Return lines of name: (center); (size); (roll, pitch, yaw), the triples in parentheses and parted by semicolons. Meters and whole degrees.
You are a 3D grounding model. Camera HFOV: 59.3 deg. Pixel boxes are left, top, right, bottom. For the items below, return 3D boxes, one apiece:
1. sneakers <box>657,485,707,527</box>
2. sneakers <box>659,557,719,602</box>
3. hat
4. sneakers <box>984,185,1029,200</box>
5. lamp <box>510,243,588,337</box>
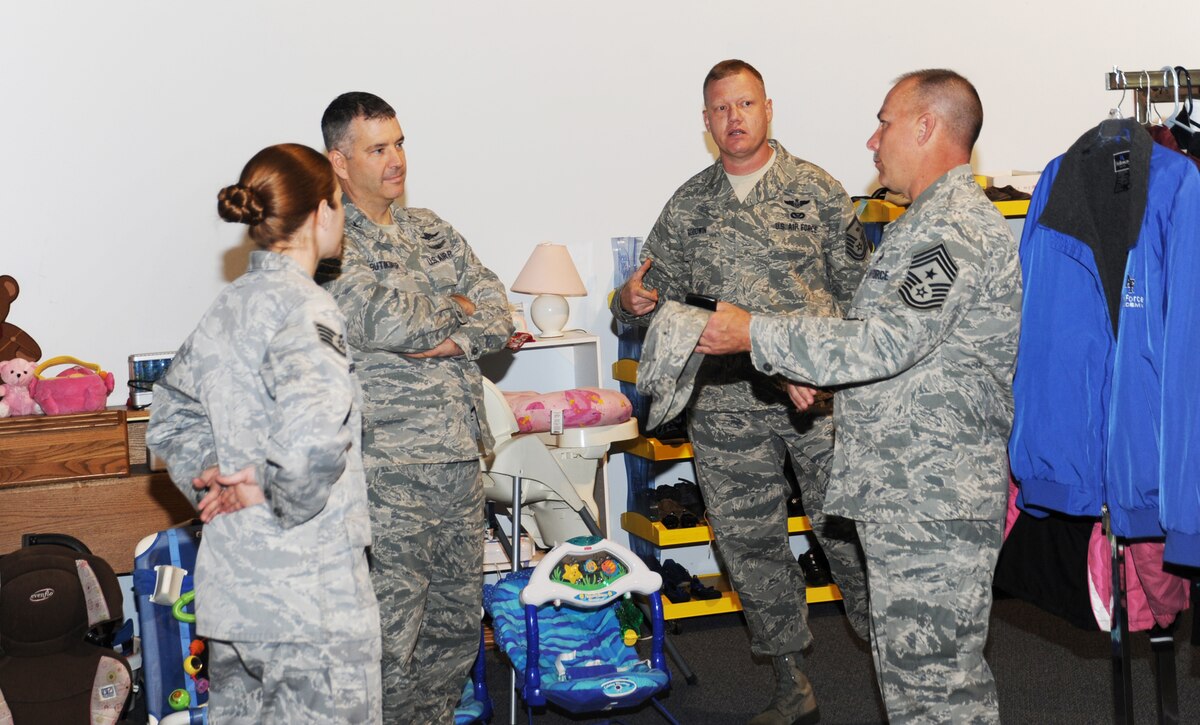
sneakers: (0.408, 0.736, 5.458); (0.187, 0.070, 0.222); (-2, 30, -7)
sneakers: (0.418, 1.130, 5.423); (0.139, 0.133, 0.380); (-6, 1, -27)
hat: (0.292, 0.015, 3.967); (0.162, 0.432, 0.317); (7, 16, -35)
sneakers: (1.999, -0.839, 5.232); (0.147, 0.049, 0.179); (0, 0, 0)
lamp: (-0.208, -0.392, 5.511); (0.518, 0.491, 0.470); (-4, 11, -14)
